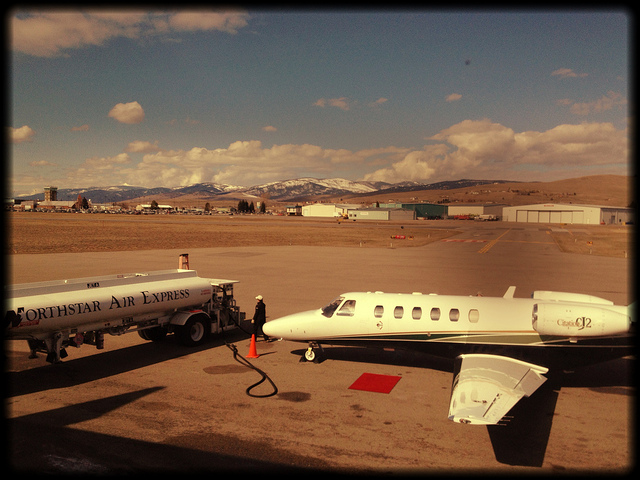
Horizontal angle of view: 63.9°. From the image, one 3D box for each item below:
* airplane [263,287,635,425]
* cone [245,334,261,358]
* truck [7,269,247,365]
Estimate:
[{"bbox_3d":[3.524,3.506,18.472,13.494,2.614,6.647,5,9,24],"label":"airplane"},{"bbox_3d":[-3.153,4.729,22.772,0.901,1.156,0.848,-1,5,-3],"label":"cone"},{"bbox_3d":[-8.432,2.917,23.649,3.740,3.277,13.120,0,0,39],"label":"truck"}]
